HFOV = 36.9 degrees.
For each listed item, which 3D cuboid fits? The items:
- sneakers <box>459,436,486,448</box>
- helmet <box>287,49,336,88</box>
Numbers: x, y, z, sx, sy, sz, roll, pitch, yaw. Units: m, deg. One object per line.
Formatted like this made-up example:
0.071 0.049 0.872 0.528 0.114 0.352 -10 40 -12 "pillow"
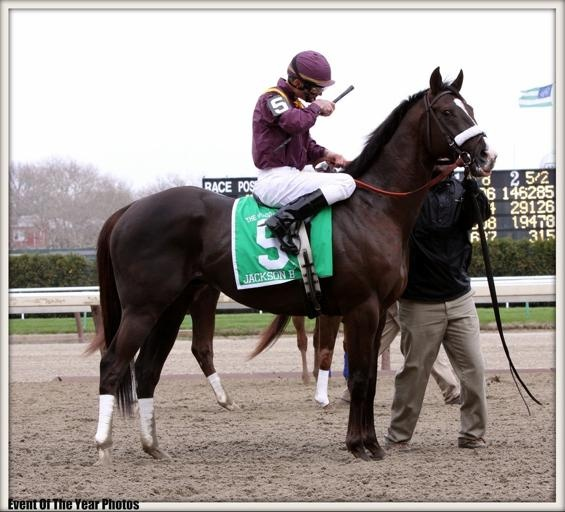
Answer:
1.257 1.236 5.674 0.184 0.086 0.075 -1 8 1 "sneakers"
0.200 -1.262 5.616 0.356 0.208 0.251 10 31 4 "helmet"
